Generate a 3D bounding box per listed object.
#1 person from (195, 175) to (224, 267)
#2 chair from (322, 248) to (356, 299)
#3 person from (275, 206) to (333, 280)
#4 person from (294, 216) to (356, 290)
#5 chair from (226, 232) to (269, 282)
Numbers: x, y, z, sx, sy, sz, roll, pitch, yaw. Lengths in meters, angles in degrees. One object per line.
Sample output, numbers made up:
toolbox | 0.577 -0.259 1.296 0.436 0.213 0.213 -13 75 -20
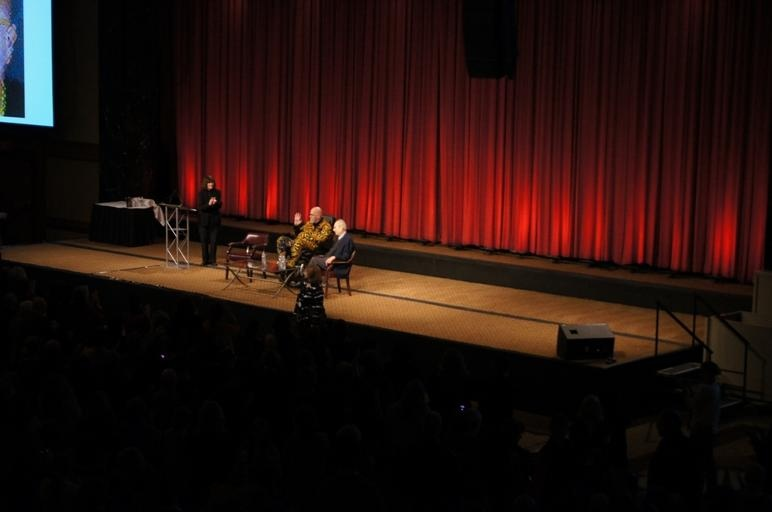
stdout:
person | -3.025 -0.599 9.593 0.448 1.507 0.731 9 -9 -7
chair | -0.704 0.232 8.505 0.433 0.664 0.523 1 3 2
person | -1.273 -0.203 8.652 0.646 1.127 0.754 8 -6 32
person | -0.880 -0.044 8.367 0.770 1.202 0.588 1 30 -13
chair | -2.160 -0.008 8.825 0.552 0.711 0.498 6 4 30
